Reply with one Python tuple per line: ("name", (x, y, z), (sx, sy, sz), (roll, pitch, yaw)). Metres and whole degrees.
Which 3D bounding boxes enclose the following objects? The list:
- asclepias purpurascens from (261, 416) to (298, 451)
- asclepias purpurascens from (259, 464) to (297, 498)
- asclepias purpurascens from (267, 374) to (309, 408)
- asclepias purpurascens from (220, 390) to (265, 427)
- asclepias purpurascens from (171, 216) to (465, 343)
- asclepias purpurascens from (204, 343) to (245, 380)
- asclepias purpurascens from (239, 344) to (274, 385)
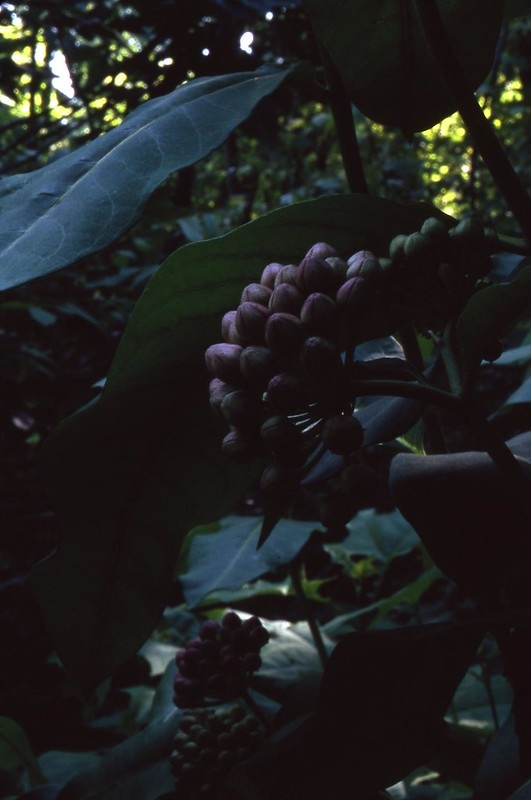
("asclepias purpurascens", (0.011, 0.026, 0.616), (0.028, 0.028, 0.013), (-10, -10, 0))
("asclepias purpurascens", (0.011, 0.067, 0.654), (0.032, 0.025, 0.007), (-30, 29, 22))
("asclepias purpurascens", (0.015, -0.008, 0.608), (0.031, 0.028, 0.016), (-9, -9, -2))
("asclepias purpurascens", (-0.019, 0.006, 0.622), (0.033, 0.029, 0.017), (-8, -10, -8))
("asclepias purpurascens", (0.074, -0.101, 0.663), (0.166, 0.043, 0.144), (-11, 31, -14))
("asclepias purpurascens", (-0.034, -0.032, 0.622), (0.021, 0.023, 0.031), (-7, -1, -20))
("asclepias purpurascens", (-0.008, -0.028, 0.618), (0.033, 0.033, 0.030), (-11, 4, 9))
